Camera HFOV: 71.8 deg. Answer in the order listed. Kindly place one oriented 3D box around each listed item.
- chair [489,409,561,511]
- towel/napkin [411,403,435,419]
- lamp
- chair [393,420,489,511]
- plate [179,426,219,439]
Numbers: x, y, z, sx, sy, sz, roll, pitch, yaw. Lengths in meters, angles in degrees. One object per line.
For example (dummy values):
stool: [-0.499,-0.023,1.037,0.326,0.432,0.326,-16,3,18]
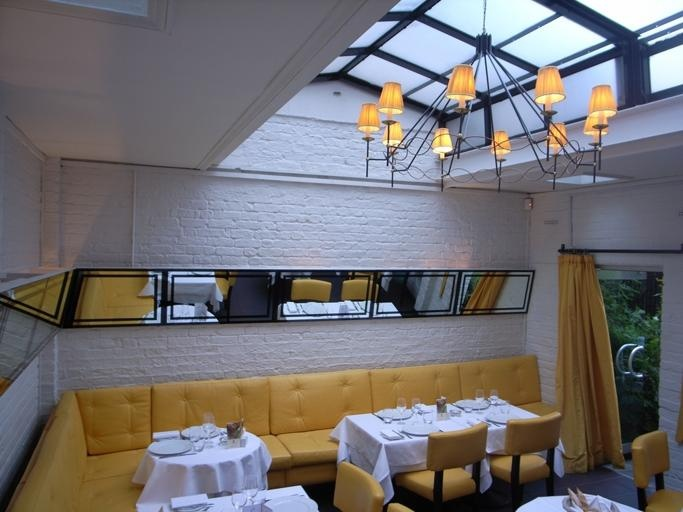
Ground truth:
chair: [1.829,2.006,4.598,0.751,0.969,0.373,2,-2,-34]
towel/napkin: [0.908,1.693,5.168,0.213,0.210,0.152,-3,3,-13]
lamp: [1.409,-1.447,4.715,2.075,1.607,3.037,1,-2,10]
chair: [0.998,1.916,4.449,0.726,0.713,0.490,2,-2,-22]
plate: [-1.336,1.646,4.399,0.199,0.046,0.195,3,-7,-19]
